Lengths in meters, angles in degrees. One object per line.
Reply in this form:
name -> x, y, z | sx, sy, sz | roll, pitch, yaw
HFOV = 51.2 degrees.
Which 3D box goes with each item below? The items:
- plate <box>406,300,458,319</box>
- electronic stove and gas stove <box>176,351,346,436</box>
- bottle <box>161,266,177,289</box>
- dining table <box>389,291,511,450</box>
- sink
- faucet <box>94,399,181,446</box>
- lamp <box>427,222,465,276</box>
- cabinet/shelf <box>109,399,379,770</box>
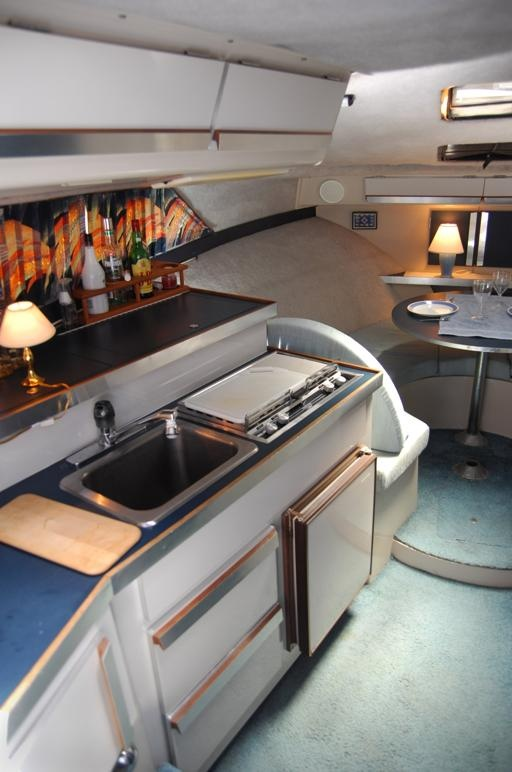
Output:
plate -> 0.931, -0.410, 2.815 | 0.162, 0.021, 0.159 | 5, 32, 17
electronic stove and gas stove -> -0.015, 0.008, 1.597 | 0.228, 0.067, 0.381 | 20, 38, 32
bottle -> -0.304, -0.384, 1.923 | 0.051, 0.068, 0.070 | -1, 19, -3
dining table -> 1.000, -0.020, 2.778 | 0.581, 0.768, 0.913 | 1, 19, 14
sink -> -0.212, 0.234, 1.320 | 0.268, 0.262, 0.341 | 17, 34, 30
faucet -> -0.322, 0.100, 1.416 | 0.171, 0.101, 0.049 | -15, 37, -28
lamp -> 1.245, -0.887, 3.480 | 0.281, 0.342, 0.283 | 13, 28, 37
cabinet/shelf -> -0.042, 0.502, 1.353 | 0.306, 0.631, 0.755 | 13, 33, 29
